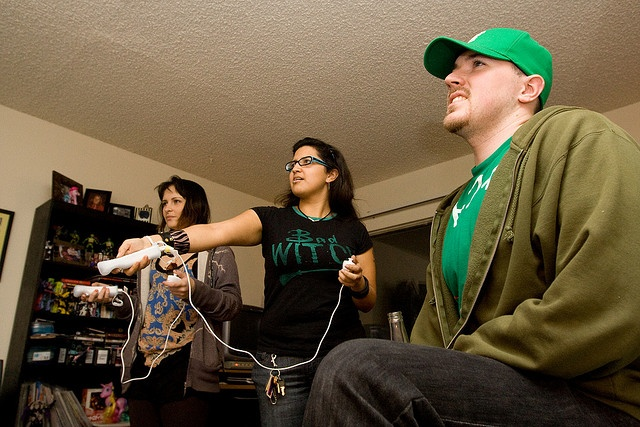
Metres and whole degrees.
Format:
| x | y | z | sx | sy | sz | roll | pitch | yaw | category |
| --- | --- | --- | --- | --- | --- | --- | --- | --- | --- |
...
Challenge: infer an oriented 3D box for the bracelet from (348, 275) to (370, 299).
| x | y | z | sx | sy | sz | roll | pitch | yaw | category |
| --- | --- | --- | --- | --- | --- | --- | --- | --- | --- |
| 0.177 | 0.319 | 1.962 | 0.081 | 0.091 | 0.045 | -12 | -43 | 9 | bracelet |

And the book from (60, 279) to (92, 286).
| x | y | z | sx | sy | sz | roll | pitch | yaw | category |
| --- | --- | --- | --- | --- | --- | --- | --- | --- | --- |
| -1.742 | 0.486 | 3.222 | 0.144 | 0.034 | 0.143 | 6 | -8 | -34 | book |

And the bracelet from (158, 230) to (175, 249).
| x | y | z | sx | sy | sz | roll | pitch | yaw | category |
| --- | --- | --- | --- | --- | --- | --- | --- | --- | --- |
| -0.563 | 0.097 | 1.657 | 0.067 | 0.061 | 0.042 | -14 | -14 | 39 | bracelet |

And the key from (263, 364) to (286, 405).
| x | y | z | sx | sy | sz | roll | pitch | yaw | category |
| --- | --- | --- | --- | --- | --- | --- | --- | --- | --- |
| -0.175 | 0.666 | 1.756 | 0.070 | 0.118 | 0.034 | -7 | -29 | 1 | key |

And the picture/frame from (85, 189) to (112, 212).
| x | y | z | sx | sy | sz | roll | pitch | yaw | category |
| --- | --- | --- | --- | --- | --- | --- | --- | --- | --- |
| -1.737 | -0.096 | 3.543 | 0.175 | 0.155 | 0.019 | 5 | -23 | -8 | picture/frame |

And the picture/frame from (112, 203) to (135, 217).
| x | y | z | sx | sy | sz | roll | pitch | yaw | category |
| --- | --- | --- | --- | --- | --- | --- | --- | --- | --- |
| -1.577 | -0.022 | 3.624 | 0.200 | 0.020 | 0.202 | 8 | 16 | -35 | picture/frame |

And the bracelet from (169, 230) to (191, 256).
| x | y | z | sx | sy | sz | roll | pitch | yaw | category |
| --- | --- | --- | --- | --- | --- | --- | --- | --- | --- |
| -0.508 | 0.102 | 1.656 | 0.074 | 0.066 | 0.065 | -1 | -2 | -25 | bracelet |

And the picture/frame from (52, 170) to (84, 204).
| x | y | z | sx | sy | sz | roll | pitch | yaw | category |
| --- | --- | --- | --- | --- | --- | --- | --- | --- | --- |
| -1.927 | -0.191 | 3.454 | 0.028 | 0.193 | 0.274 | -21 | -7 | 9 | picture/frame |
